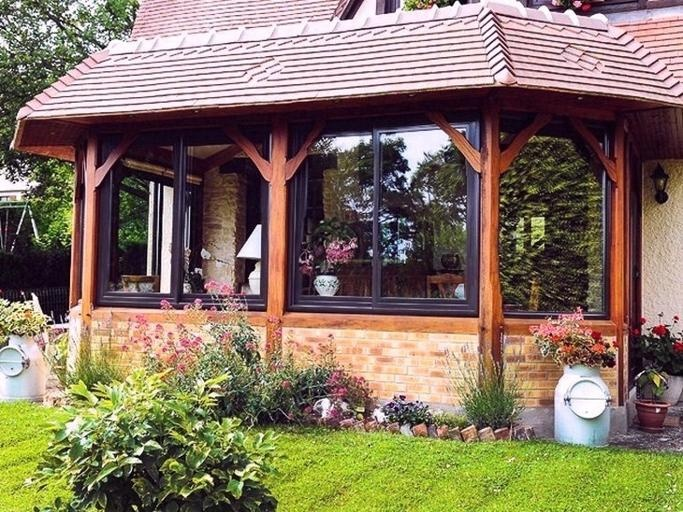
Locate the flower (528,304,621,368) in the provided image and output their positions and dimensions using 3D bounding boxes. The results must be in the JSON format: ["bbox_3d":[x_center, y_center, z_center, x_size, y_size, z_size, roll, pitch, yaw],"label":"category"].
[{"bbox_3d":[3.038,1.095,9.402,0.918,0.666,1.195,-7,14,-14],"label":"flower"}]

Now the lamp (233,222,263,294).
[{"bbox_3d":[-1.415,0.042,10.804,0.169,1.093,0.506,4,-6,-37],"label":"lamp"}]

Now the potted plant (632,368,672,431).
[{"bbox_3d":[4.487,2.066,10.175,0.462,0.783,0.467,-2,-8,23],"label":"potted plant"}]

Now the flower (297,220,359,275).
[{"bbox_3d":[-0.184,-0.155,10.431,0.844,0.928,0.715,-1,5,-43],"label":"flower"}]

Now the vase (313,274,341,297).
[{"bbox_3d":[-0.224,0.413,10.281,0.300,0.272,0.318,1,-7,-6],"label":"vase"}]

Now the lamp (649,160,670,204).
[{"bbox_3d":[5.570,-1.287,12.170,0.286,0.734,0.232,-3,-6,27],"label":"lamp"}]
